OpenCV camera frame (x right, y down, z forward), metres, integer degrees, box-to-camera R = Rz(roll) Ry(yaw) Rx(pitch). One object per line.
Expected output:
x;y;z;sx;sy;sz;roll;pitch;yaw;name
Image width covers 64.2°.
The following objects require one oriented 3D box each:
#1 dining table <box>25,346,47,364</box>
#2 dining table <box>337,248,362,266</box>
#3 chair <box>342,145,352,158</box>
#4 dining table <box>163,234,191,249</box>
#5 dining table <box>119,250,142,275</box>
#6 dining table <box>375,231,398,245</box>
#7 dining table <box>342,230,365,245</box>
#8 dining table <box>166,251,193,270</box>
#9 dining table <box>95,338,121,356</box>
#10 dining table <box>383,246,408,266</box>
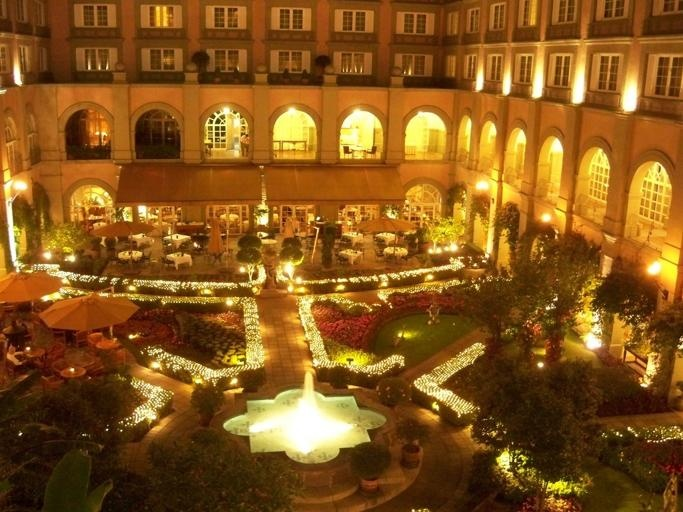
-12.487;4.097;22.303;0.721;0.592;1.026;-10;19;-29;dining table
0.562;0.034;34.918;1.044;0.790;1.454;9;19;32;dining table
0.532;-7.930;41.582;0.741;1.006;2.066;-1;16;2;chair
-10.581;-0.974;35.174;1.114;0.418;1.121;14;21;37;dining table
-12.711;0.168;32.818;1.427;1.210;1.920;-8;18;-21;dining table
3.231;-1.231;37.891;0.900;0.542;1.139;-11;21;-34;dining table
0.775;-1.300;38.164;1.065;0.611;1.071;23;32;31;dining table
-9.710;0.190;32.996;1.108;0.549;1.115;20;24;35;dining table
-9.945;3.834;23.166;1.107;0.329;0.742;1;16;5;dining table
3.505;-0.046;34.972;1.547;1.022;1.016;1;17;6;dining table
